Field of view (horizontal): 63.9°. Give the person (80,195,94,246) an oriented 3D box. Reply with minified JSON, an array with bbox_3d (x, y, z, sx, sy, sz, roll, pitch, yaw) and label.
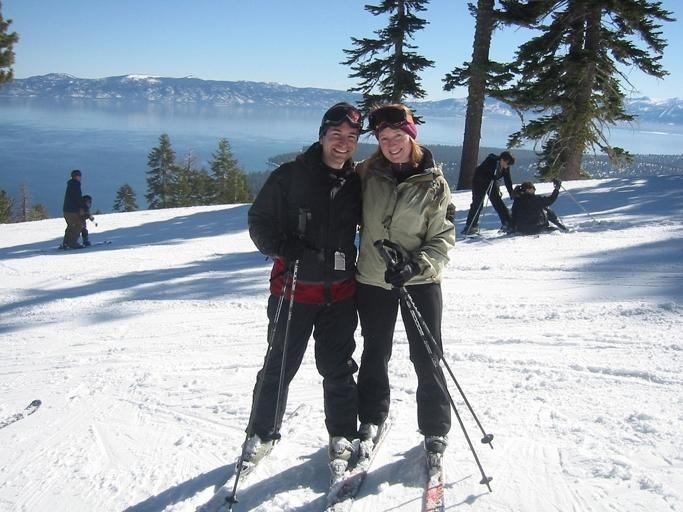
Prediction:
[{"bbox_3d":[-6.449,-0.899,13.902,0.504,1.283,0.487,0,-3,-18],"label":"person"}]

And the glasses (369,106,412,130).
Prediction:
[{"bbox_3d":[0.433,-1.262,4.994,0.396,0.225,0.178,0,13,9],"label":"glasses"}]

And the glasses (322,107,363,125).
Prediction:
[{"bbox_3d":[0.007,-1.270,4.961,0.346,0.141,0.171,-3,13,-8],"label":"glasses"}]

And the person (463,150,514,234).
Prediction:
[{"bbox_3d":[3.330,-1.469,12.423,1.049,1.800,1.217,2,13,17],"label":"person"}]

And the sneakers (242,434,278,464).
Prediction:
[{"bbox_3d":[-0.736,1.770,5.092,0.183,0.158,0.358,13,20,24],"label":"sneakers"}]

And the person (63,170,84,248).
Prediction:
[{"bbox_3d":[-6.665,-1.173,13.598,0.632,1.883,0.772,-8,14,-24],"label":"person"}]

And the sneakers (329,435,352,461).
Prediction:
[{"bbox_3d":[-0.011,1.749,5.033,0.235,0.222,0.176,1,0,-2],"label":"sneakers"}]

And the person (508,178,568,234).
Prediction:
[{"bbox_3d":[4.344,-1.056,12.076,1.108,1.152,1.645,1,1,-36],"label":"person"}]

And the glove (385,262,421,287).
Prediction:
[{"bbox_3d":[0.535,0.160,4.807,0.205,0.116,0.259,-20,4,-27],"label":"glove"}]
